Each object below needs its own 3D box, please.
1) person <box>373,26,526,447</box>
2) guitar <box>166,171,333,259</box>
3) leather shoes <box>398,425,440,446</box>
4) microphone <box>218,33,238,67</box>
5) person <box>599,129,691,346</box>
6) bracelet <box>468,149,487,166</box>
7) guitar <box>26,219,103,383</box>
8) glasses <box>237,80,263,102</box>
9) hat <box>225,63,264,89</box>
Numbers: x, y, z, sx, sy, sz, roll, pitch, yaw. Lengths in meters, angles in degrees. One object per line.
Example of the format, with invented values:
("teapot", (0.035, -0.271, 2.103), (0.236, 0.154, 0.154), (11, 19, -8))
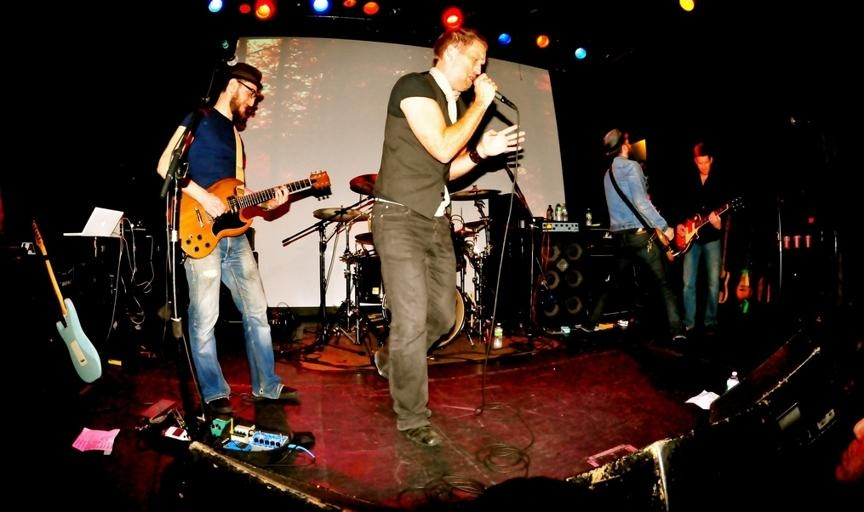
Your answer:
("person", (0.019, -0.229, 5.774), (1.097, 3.965, 0.663), (-4, 7, -31))
("guitar", (-2.148, -0.403, 6.158), (0.933, 0.811, 0.396), (-3, 7, -25))
("leather shoes", (-0.087, 1.714, 5.608), (0.255, 0.104, 0.168), (8, 23, 3))
("microphone", (-1.961, -1.967, 5.653), (0.153, 0.343, 0.235), (-2, 6, -11))
("person", (2.804, -0.315, 7.788), (1.147, 2.744, 0.440), (4, 7, 32))
("bracelet", (0.452, -0.985, 5.925), (0.157, 0.109, 0.154), (40, 9, -17))
("guitar", (-4.038, 0.554, 6.580), (0.917, 1.676, 0.319), (5, 8, 38))
("glasses", (-1.902, -1.739, 6.180), (0.212, 0.065, 0.213), (9, 41, -52))
("hat", (-1.941, -1.876, 5.996), (0.280, 0.103, 0.317), (15, 2, 13))
